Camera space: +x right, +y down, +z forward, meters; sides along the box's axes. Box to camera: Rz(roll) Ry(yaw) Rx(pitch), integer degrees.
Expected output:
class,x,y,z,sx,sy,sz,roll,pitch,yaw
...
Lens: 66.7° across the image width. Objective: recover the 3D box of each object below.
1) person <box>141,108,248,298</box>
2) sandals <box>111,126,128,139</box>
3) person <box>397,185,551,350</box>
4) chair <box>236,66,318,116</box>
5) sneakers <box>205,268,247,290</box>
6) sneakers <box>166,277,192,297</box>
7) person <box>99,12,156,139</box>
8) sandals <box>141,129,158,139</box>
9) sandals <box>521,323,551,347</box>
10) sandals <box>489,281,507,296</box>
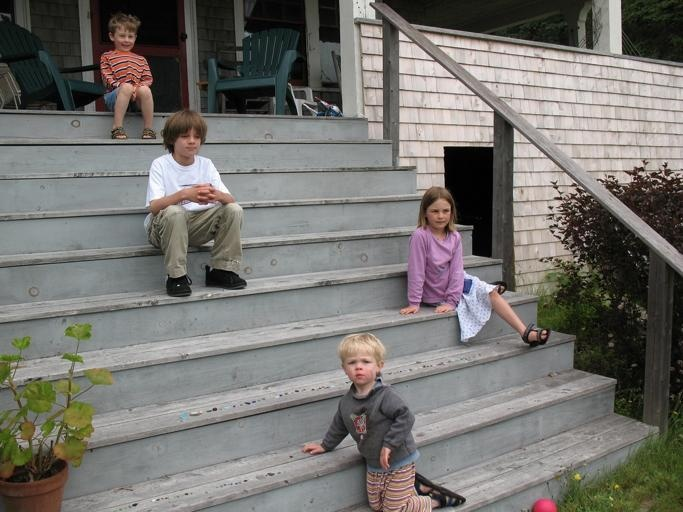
class,x,y,z,sx,sy,sz,roll,pitch,yaw
person,-0.874,-0.334,3.041,0.539,1.014,0.627,-8,14,-22
sandals,-1.644,-0.902,3.839,0.083,0.070,0.184,-1,0,-23
person,0.859,0.048,3.237,0.887,0.953,0.553,5,14,28
chair,-0.720,-1.609,4.930,0.554,0.564,0.893,-12,16,-34
sneakers,-0.683,0.132,3.078,0.269,0.122,0.104,4,5,25
sneakers,-0.874,0.180,2.822,0.070,0.094,0.199,1,-2,-28
person,-1.688,-1.443,4.094,0.375,1.030,0.826,-8,14,-23
sandals,-1.475,-0.917,3.957,0.061,0.054,0.160,-1,-2,-3
sandals,1.208,0.506,3.307,0.081,0.102,0.212,3,2,-25
sandals,1.093,0.216,3.608,0.115,0.035,0.118,-26,-34,13
